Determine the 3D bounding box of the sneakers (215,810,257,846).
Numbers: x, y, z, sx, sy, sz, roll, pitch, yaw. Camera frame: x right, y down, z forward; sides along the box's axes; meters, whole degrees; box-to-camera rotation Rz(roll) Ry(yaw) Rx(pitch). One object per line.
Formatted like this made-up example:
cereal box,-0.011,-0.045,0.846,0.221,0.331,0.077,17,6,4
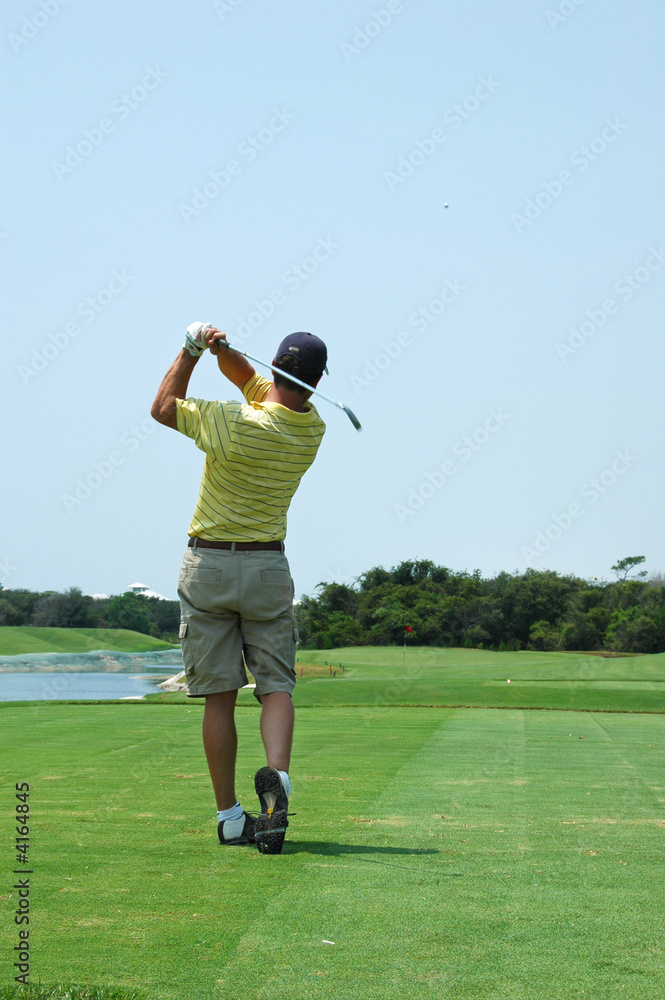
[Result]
sneakers,-0.340,1.155,4.464,0.074,0.070,0.180,-1,-4,20

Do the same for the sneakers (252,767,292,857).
sneakers,-0.219,1.041,4.263,0.103,0.269,0.125,-11,-23,28
